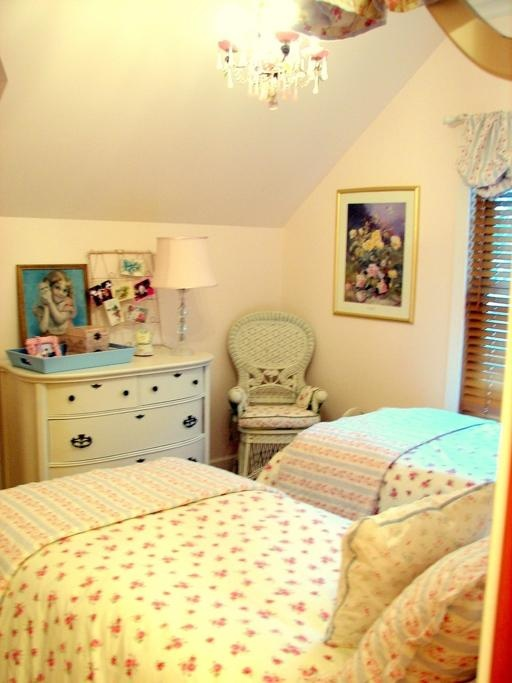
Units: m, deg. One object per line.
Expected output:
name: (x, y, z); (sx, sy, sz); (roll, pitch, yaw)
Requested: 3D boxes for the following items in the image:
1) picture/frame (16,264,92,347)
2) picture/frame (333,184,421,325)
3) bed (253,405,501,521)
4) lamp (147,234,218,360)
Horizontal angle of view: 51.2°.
picture/frame: (-1.249, -0.214, 3.238); (0.499, 0.531, 0.040); (-10, 14, -40)
picture/frame: (0.826, -0.614, 3.762); (0.062, 0.902, 0.720); (-7, 13, -38)
bed: (0.546, 0.524, 2.353); (0.835, 0.190, 0.865); (7, 14, 39)
lamp: (-0.485, -0.320, 3.578); (0.401, 0.759, 0.527); (0, 10, -10)
